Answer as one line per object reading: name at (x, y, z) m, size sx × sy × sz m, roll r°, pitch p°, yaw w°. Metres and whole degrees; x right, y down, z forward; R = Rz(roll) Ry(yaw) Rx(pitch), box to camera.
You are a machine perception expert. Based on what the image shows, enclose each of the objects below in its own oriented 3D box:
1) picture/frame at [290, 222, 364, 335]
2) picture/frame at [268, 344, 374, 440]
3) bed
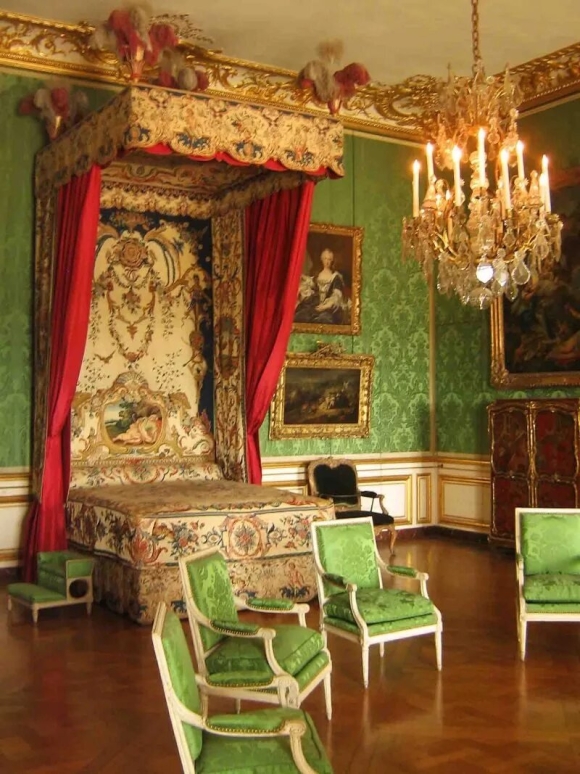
picture/frame at (0.358, -1.139, 7.156) m, size 1.299 × 1.265 × 0.102 m, roll 10°, pitch -8°, yaw -44°
picture/frame at (0.281, 0.040, 7.248) m, size 1.121 × 0.938 × 0.084 m, roll -2°, pitch 3°, yaw -37°
bed at (-0.836, -0.214, 5.450) m, size 2.293 × 3.664 × 2.834 m, roll 2°, pitch -6°, yaw -22°
